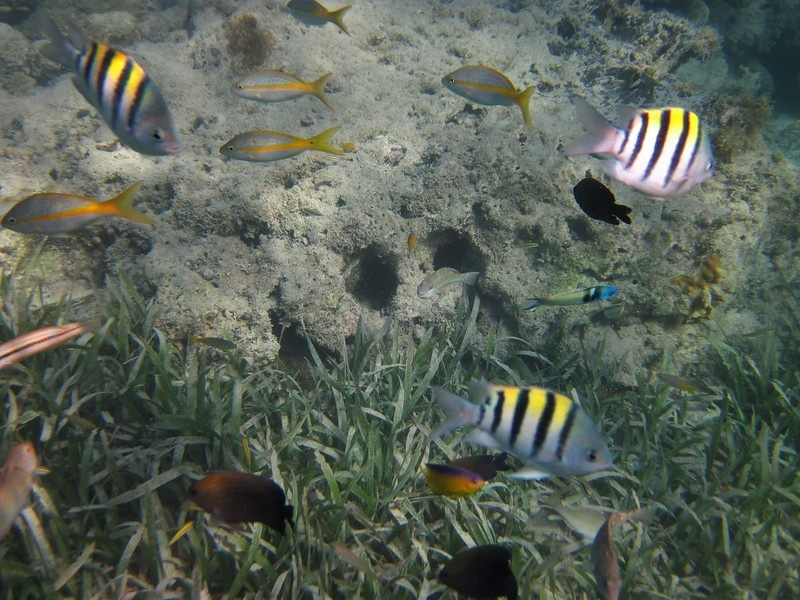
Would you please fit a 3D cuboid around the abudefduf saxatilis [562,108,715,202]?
[{"bbox_3d":[2.219,-1.377,6.862,1.283,0.772,0.301,15,33,2],"label":"abudefduf saxatilis"}]

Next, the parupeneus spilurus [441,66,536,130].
[{"bbox_3d":[0.912,-2.183,7.805,0.806,0.764,0.772,8,17,11],"label":"parupeneus spilurus"}]

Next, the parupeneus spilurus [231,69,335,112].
[{"bbox_3d":[-1.288,-2.281,8.066,0.967,0.341,0.154,2,34,-17],"label":"parupeneus spilurus"}]
